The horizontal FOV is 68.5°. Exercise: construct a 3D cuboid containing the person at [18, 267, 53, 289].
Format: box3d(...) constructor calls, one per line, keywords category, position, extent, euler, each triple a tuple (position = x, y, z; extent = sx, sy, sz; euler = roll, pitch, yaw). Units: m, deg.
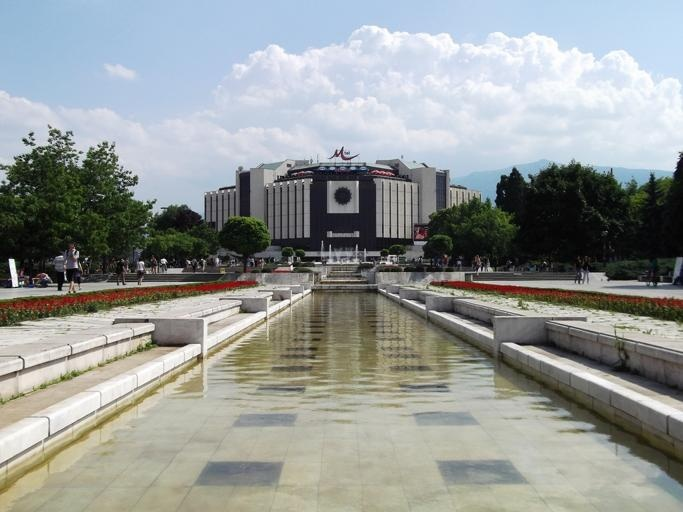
box3d(category="person", position=(-24.616, 1.548, 39.969), extent=(2.383, 1.048, 1.566), euler=(-1, 2, -2))
